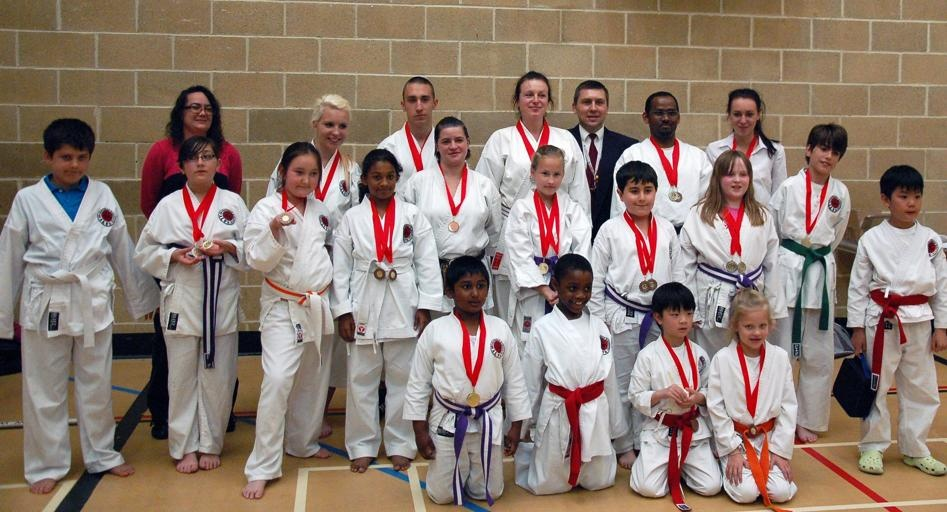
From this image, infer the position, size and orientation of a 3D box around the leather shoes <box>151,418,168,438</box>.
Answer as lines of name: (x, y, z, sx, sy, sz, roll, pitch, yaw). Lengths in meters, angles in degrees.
leather shoes: (-3.148, 1.763, 9.859, 0.148, 0.187, 0.198, 3, -10, -10)

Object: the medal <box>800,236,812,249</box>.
medal: (3.338, -0.140, 9.825, 0.107, 0.112, 0.026, -1, 3, -6)

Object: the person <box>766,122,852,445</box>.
person: (3.435, 0.278, 9.903, 0.750, 3.167, 0.319, -2, 3, -10)

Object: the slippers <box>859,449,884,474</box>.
slippers: (3.858, 1.986, 9.436, 0.305, 0.207, 0.182, -1, 3, -10)

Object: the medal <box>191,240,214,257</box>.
medal: (-2.552, -0.079, 9.270, 0.182, 0.071, 0.128, -19, 6, 25)

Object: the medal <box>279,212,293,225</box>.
medal: (-1.735, -0.344, 9.186, 0.116, 0.132, 0.170, -1, 3, -4)
